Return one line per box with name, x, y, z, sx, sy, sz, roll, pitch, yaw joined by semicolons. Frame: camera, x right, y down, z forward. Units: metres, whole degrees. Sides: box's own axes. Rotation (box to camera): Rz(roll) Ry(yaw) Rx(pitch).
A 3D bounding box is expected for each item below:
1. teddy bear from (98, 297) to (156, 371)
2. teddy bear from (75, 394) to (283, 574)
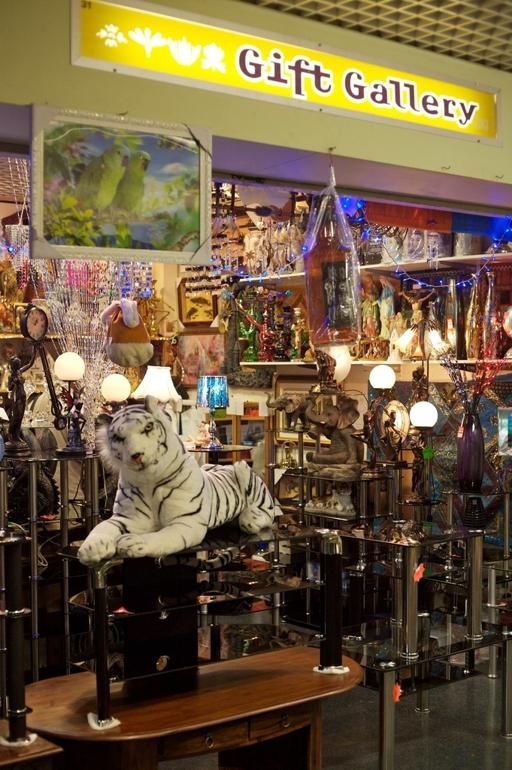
teddy bear;-0.390;-0.161;2.078;0.133;0.210;0.139;-6;11;-35
teddy bear;-0.146;0.221;1.571;0.233;0.280;0.564;-4;-6;31
